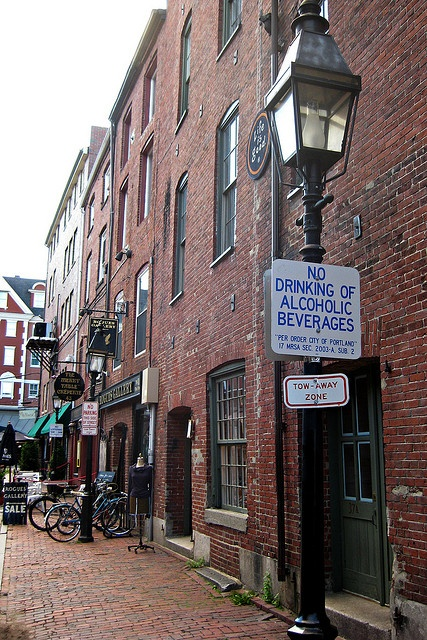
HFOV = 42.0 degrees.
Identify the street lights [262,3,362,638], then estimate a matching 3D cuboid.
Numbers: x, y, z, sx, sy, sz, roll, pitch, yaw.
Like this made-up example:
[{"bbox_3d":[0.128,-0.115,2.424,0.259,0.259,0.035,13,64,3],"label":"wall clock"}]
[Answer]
[{"bbox_3d":[0.555,-0.261,2.816,0.514,3.346,0.593,-4,-12,11],"label":"street lights"}]
